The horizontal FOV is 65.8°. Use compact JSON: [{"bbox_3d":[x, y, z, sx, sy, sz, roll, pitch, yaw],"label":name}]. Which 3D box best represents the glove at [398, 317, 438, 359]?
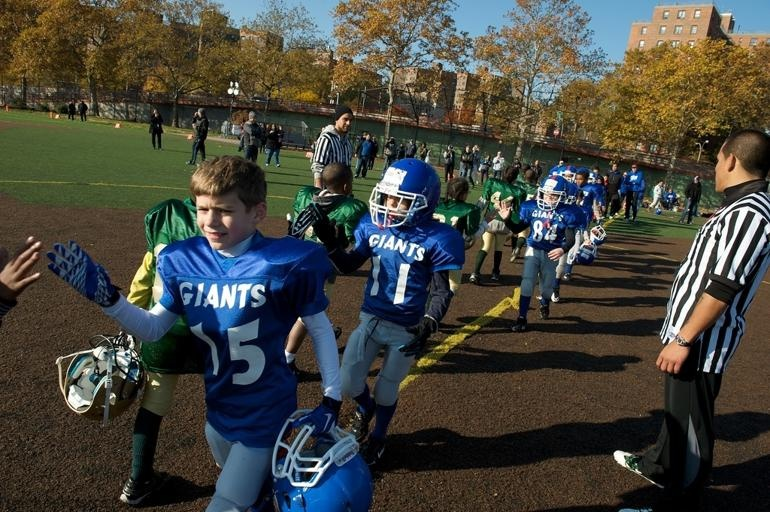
[{"bbox_3d":[0.311,0.677,5.084,0.273,0.144,0.415,32,38,11],"label":"glove"}]

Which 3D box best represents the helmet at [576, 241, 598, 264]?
[{"bbox_3d":[3.729,-0.042,11.002,0.584,0.436,0.238,-4,17,-40],"label":"helmet"}]

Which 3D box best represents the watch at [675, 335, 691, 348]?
[{"bbox_3d":[2.384,0.690,4.760,0.099,0.058,0.076,25,-6,8],"label":"watch"}]

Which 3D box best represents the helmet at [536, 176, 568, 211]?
[{"bbox_3d":[2.373,-0.904,8.453,0.399,0.476,0.367,13,14,22],"label":"helmet"}]

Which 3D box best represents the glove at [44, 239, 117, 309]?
[{"bbox_3d":[-2.866,0.203,5.572,0.256,0.356,0.849,5,-9,13],"label":"glove"}]

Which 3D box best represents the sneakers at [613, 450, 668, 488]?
[{"bbox_3d":[2.365,1.941,5.585,0.159,0.198,0.502,-17,27,-27],"label":"sneakers"}]

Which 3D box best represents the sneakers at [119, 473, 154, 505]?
[{"bbox_3d":[-1.960,1.875,4.824,0.138,0.162,0.357,4,8,11],"label":"sneakers"}]

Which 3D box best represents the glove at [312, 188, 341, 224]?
[{"bbox_3d":[-0.702,-0.525,6.481,0.297,0.405,0.370,-6,21,-25],"label":"glove"}]
